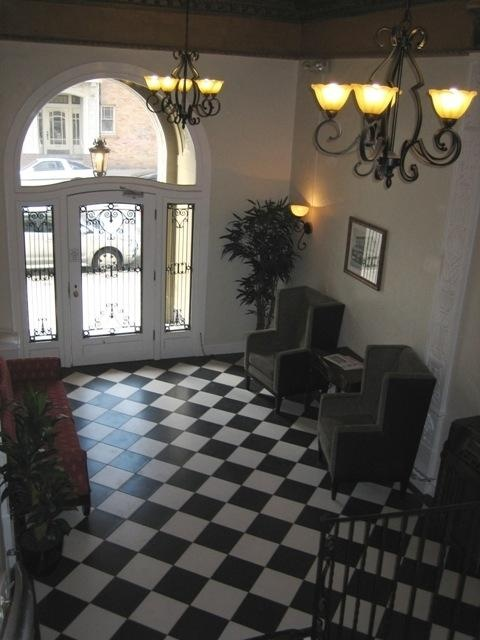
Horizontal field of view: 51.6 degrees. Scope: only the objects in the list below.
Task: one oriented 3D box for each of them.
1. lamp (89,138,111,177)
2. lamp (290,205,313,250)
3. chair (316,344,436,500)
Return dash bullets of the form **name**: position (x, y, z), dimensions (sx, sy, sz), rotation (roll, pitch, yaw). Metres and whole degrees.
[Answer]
- **lamp**: position (-1.750, -2.027, 6.187), dimensions (0.231, 0.463, 0.415), rotation (-3, 14, -16)
- **lamp**: position (0.821, -1.243, 6.653), dimensions (0.293, 0.604, 0.419), rotation (3, 14, 10)
- **chair**: position (1.189, 0.956, 4.616), dimensions (0.842, 1.312, 0.774), rotation (0, 14, -3)
